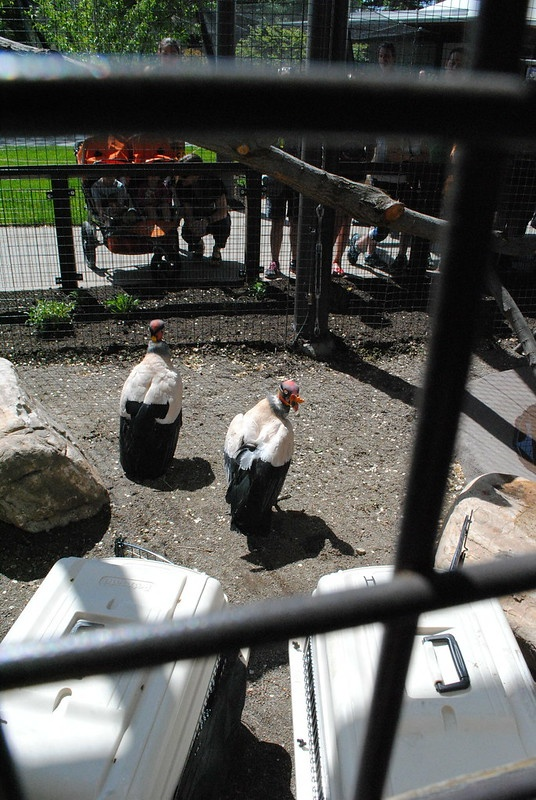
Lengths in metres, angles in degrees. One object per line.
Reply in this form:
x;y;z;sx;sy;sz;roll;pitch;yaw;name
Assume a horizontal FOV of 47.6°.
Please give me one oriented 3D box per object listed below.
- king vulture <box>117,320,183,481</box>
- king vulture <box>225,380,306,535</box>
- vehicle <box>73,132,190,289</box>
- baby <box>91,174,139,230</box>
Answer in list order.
-0.753;0.107;4.029;0.357;0.816;0.455;14;27;25;king vulture
-0.055;0.384;3.635;0.418;0.721;0.641;3;25;2;king vulture
-1.526;-2.365;7.469;1.681;1.629;0.979;-3;16;-20;vehicle
-1.804;-2.289;7.059;0.489;0.557;0.320;0;25;-3;baby
